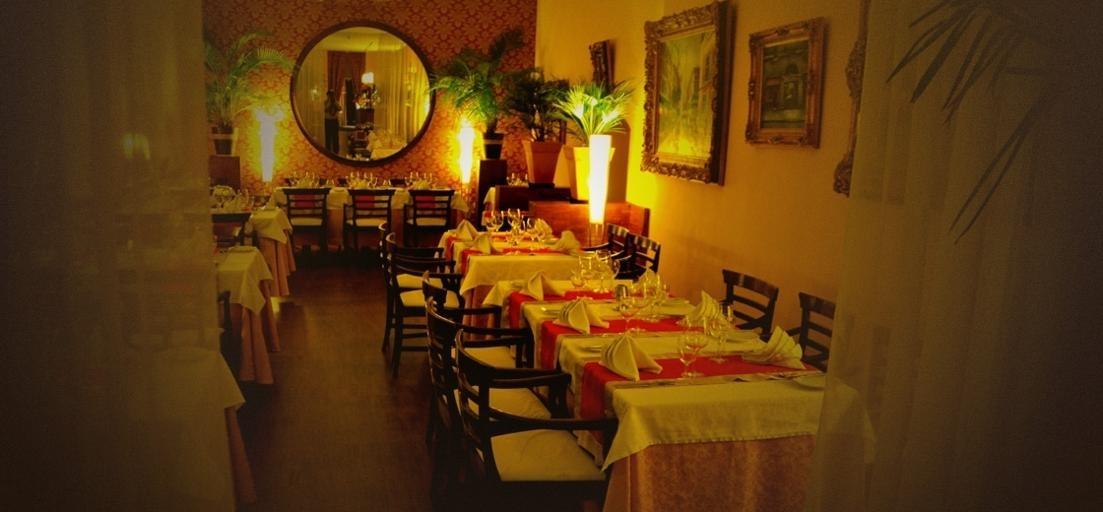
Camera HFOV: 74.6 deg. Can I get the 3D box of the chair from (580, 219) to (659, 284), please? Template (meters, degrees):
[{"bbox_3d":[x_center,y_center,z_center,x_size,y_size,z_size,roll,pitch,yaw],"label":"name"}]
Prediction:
[{"bbox_3d":[0.578,-0.031,6.123,0.567,0.694,0.580,-1,14,-14],"label":"chair"}]

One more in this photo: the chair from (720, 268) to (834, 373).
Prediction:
[{"bbox_3d":[1.335,0.370,4.214,0.480,0.603,0.485,-4,14,-19],"label":"chair"}]

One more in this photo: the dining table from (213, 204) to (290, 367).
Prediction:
[{"bbox_3d":[-2.216,0.214,5.346,0.566,0.487,1.358,-3,29,-20],"label":"dining table"}]

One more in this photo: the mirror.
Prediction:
[{"bbox_3d":[-2.703,-2.379,10.262,2.663,2.182,0.098,0,2,-1],"label":"mirror"}]
